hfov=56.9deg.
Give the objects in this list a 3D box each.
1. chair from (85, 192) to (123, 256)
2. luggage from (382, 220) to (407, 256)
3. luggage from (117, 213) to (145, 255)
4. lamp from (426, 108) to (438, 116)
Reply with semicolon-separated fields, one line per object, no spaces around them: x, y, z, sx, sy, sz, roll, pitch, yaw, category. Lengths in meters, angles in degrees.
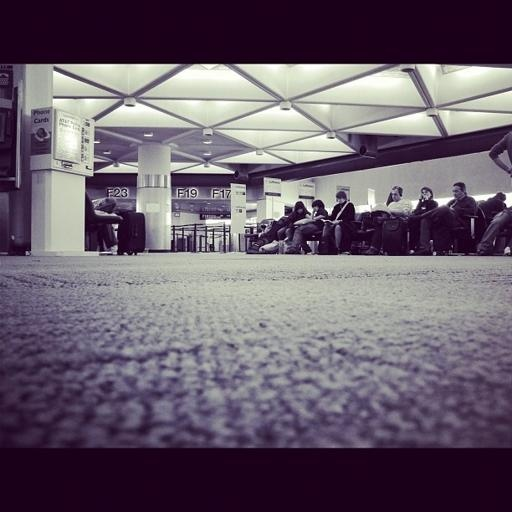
-2.986;-0.569;9.110;0.867;1.176;0.951;0;2;-19;chair
2.652;-0.368;9.007;0.561;0.841;0.411;4;6;33;luggage
-2.392;-0.435;8.970;0.522;0.833;0.633;-1;4;-10;luggage
4.571;-3.719;12.274;0.206;0.139;0.212;0;3;39;lamp
